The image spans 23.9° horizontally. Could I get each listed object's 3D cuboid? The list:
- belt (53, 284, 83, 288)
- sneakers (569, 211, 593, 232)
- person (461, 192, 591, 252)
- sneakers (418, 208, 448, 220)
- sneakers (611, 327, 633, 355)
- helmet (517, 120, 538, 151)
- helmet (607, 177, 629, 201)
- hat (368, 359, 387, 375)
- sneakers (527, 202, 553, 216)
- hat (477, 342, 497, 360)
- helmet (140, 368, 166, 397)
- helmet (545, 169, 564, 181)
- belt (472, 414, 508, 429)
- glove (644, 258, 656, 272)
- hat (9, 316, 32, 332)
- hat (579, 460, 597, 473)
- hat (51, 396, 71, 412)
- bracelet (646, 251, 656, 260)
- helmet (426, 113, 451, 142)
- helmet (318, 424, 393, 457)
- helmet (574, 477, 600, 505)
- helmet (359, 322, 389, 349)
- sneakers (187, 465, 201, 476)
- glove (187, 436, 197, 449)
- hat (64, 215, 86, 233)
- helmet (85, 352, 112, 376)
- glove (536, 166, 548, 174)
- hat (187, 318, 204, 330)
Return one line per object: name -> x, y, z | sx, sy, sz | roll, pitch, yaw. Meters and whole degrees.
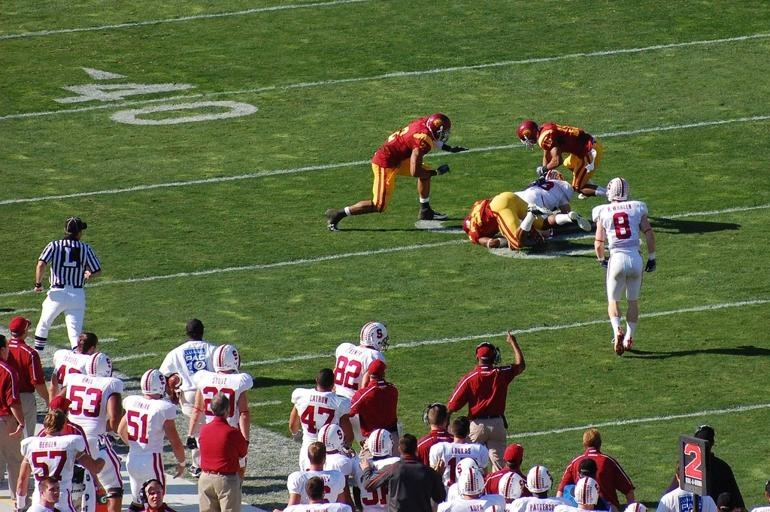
belt -> -4.232, 0.419, 23.948 | 0.380, 0.059, 0.096 | -1, 7, -7
sneakers -> 2.728, -0.486, 26.207 | 0.199, 0.170, 0.469 | -3, 28, -43
person -> 1.989, -0.475, 26.388 | 1.535, 0.512, 0.916 | -10, -2, 34
sneakers -> 0.713, -0.598, 27.518 | 0.477, 0.164, 0.154 | 0, 13, 2
sneakers -> 3.089, 1.153, 23.823 | 0.189, 0.429, 0.200 | 1, 43, -2
helmet -> 2.210, -1.806, 27.835 | 0.330, 0.381, 0.319 | 13, 17, 3
helmet -> 3.114, -0.868, 24.389 | 0.290, 0.311, 0.359 | -7, 8, -36
hat -> -0.134, 1.335, 21.661 | 0.199, 0.170, 0.232 | -1, 7, -1
sneakers -> 2.204, -0.635, 26.323 | 0.387, 0.120, 0.148 | 8, -39, -33
hat -> 1.193, 1.131, 21.777 | 0.196, 0.209, 0.221 | 5, 38, 1
helmet -> -2.809, 1.487, 21.220 | 0.266, 0.266, 0.336 | 12, 24, 28
helmet -> 2.492, -1.113, 26.863 | 0.235, 0.169, 0.216 | -30, 15, 8
belt -> 1.263, 1.987, 21.778 | 0.274, 0.080, 0.221 | -8, -1, 12
glove -> 3.561, 0.157, 24.424 | 0.154, 0.183, 0.074 | 10, -17, 40
hat -> -4.463, 0.846, 22.005 | 0.205, 0.152, 0.268 | -1, 6, -6
hat -> 2.244, 2.351, 20.282 | 0.183, 0.157, 0.117 | 0, 7, 6
hat -> -3.764, 1.694, 20.911 | 0.212, 0.105, 0.151 | -23, 45, -39
bracelet -> 3.547, 0.020, 24.400 | 0.118, 0.099, 0.120 | 7, -5, 10
helmet -> 0.754, -1.859, 27.086 | 0.338, 0.395, 0.287 | -1, 7, 0
helmet -> -0.360, 2.103, 20.664 | 0.700, 0.215, 0.386 | 2, 7, -13
helmet -> 2.235, 2.600, 20.048 | 0.273, 0.283, 0.264 | 1, -21, 12
helmet -> -0.162, 0.954, 22.119 | 0.391, 0.285, 0.257 | -8, 30, -18
sneakers -> -2.368, 2.626, 22.277 | 0.081, 0.150, 0.342 | -3, 7, -20
glove -> -2.324, 2.203, 21.457 | 0.159, 0.135, 0.119 | 4, 3, -34
hat -> -4.138, -0.381, 24.063 | 0.237, 0.163, 0.326 | 8, 26, 8
helmet -> -3.377, 1.292, 21.525 | 0.264, 0.283, 0.284 | 4, 49, 13
glove -> 2.364, -1.268, 27.693 | 0.221, 0.096, 0.262 | 2, 1, 0
hat -> -2.355, 0.854, 22.157 | 0.174, 0.124, 0.084 | -1, 7, -7
